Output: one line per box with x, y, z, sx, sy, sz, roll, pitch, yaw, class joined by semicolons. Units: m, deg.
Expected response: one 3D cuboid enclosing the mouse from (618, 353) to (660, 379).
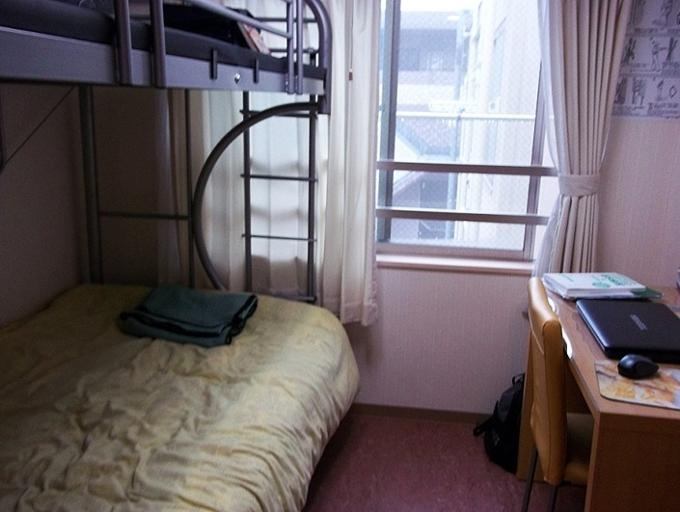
0.870;0.307;1.576;0.098;0.054;0.062;-14;18;-26;mouse

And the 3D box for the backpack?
0.721;0.703;2.456;0.185;0.476;0.316;6;15;13;backpack
